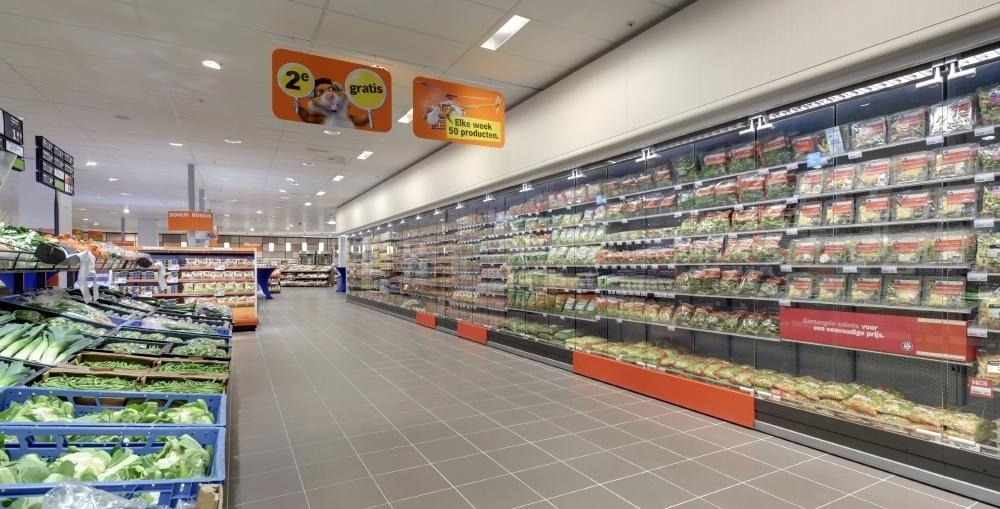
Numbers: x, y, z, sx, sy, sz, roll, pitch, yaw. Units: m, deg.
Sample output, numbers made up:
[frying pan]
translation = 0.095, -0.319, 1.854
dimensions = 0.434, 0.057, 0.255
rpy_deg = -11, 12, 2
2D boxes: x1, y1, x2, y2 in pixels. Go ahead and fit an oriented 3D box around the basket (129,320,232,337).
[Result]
[basket]
translation = -4.135, 0.945, 5.939
dimensions = 0.497, 0.100, 0.536
rpy_deg = 1, -1, 44
